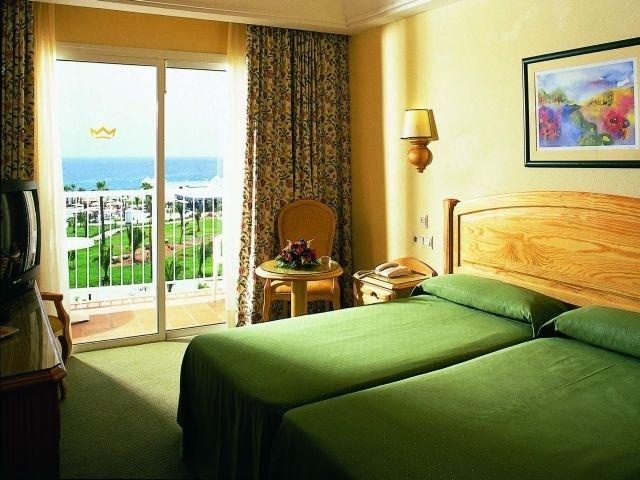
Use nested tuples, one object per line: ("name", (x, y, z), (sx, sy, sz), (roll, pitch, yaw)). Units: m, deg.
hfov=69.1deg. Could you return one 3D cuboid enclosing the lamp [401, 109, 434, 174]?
("lamp", (0.890, -0.857, 4.075), (0.276, 0.552, 0.317), (5, 13, 30))
